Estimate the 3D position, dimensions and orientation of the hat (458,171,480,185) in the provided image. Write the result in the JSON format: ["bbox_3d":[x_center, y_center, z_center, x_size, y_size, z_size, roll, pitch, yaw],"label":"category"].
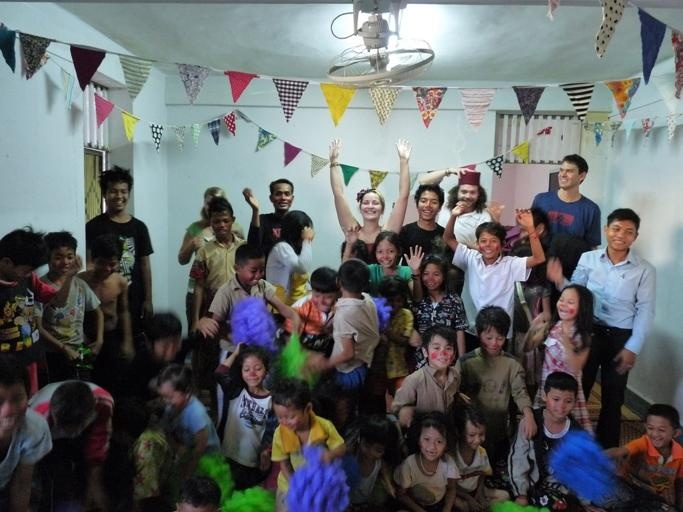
[{"bbox_3d":[0.915,-0.551,3.964,0.117,0.083,0.120,4,4,43],"label":"hat"}]
